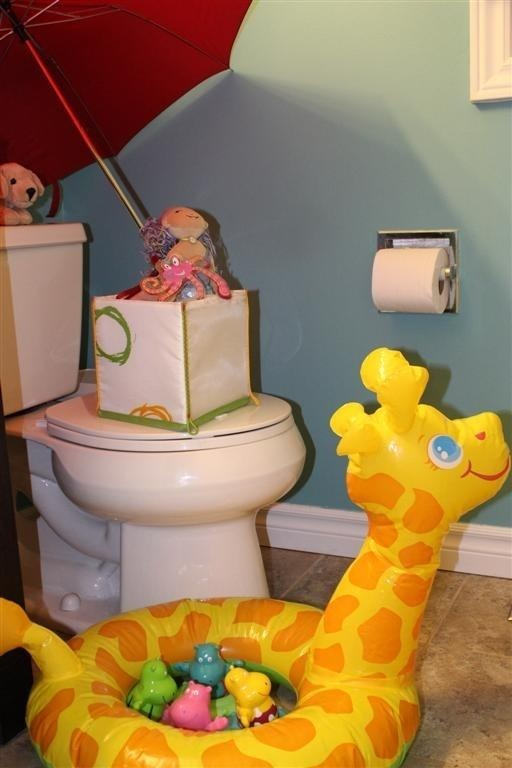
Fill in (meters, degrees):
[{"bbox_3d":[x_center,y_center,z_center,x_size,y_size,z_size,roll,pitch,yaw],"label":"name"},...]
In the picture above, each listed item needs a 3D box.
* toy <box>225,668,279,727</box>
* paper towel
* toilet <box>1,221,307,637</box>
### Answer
[{"bbox_3d":[-0.010,0.446,0.931,0.053,0.075,0.076,-15,10,18],"label":"toy"},{"bbox_3d":[0.316,-0.207,1.325,0.142,0.117,0.112,11,15,40],"label":"paper towel"},{"bbox_3d":[-0.102,0.086,1.374,0.667,0.618,0.503,2,11,23],"label":"toilet"}]
